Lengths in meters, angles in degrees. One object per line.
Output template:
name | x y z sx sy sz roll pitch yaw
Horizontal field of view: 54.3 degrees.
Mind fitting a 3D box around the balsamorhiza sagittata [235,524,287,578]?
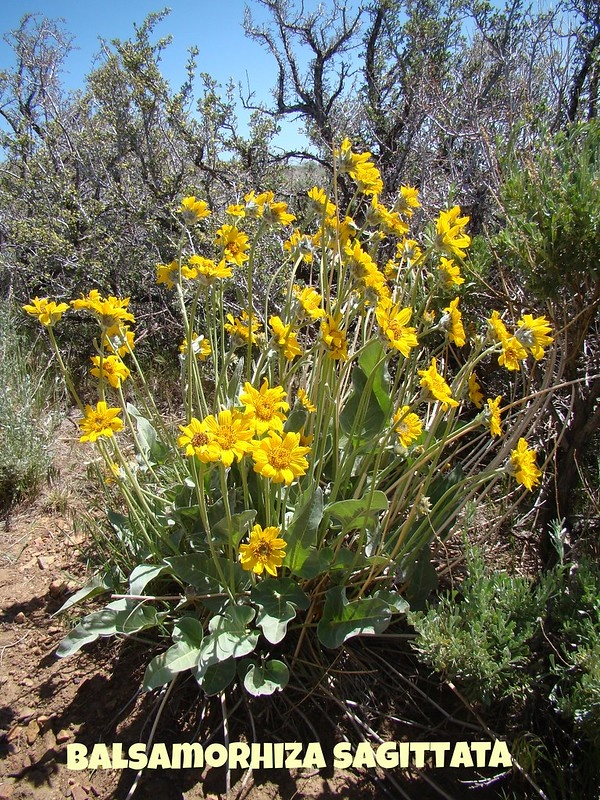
balsamorhiza sagittata | -0.088 0.359 1.428 0.089 0.102 0.108 6 2 32
